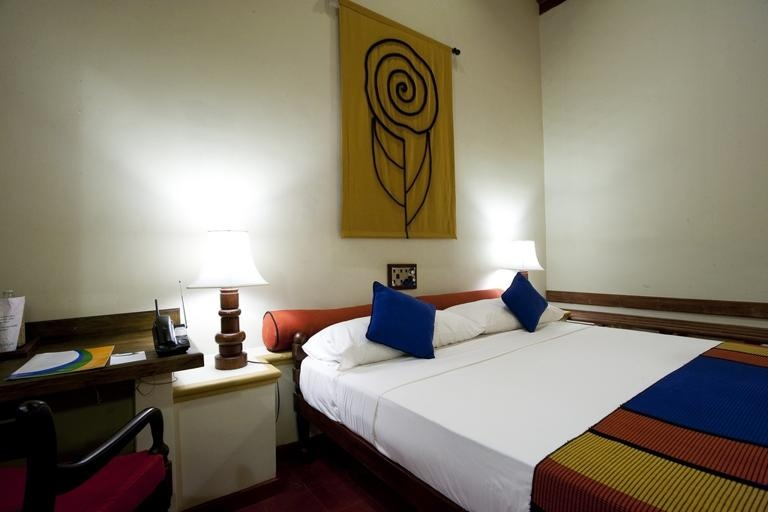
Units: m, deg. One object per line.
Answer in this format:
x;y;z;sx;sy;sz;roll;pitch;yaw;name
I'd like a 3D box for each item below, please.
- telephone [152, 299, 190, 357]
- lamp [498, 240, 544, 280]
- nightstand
-1.290;0.397;3.011;0.198;0.337;0.271;-4;5;-28;telephone
1.369;-0.001;5.057;0.368;0.394;0.386;-4;4;0;lamp
-1.087;1.041;3.410;0.664;0.899;0.881;-1;-1;-32;nightstand
